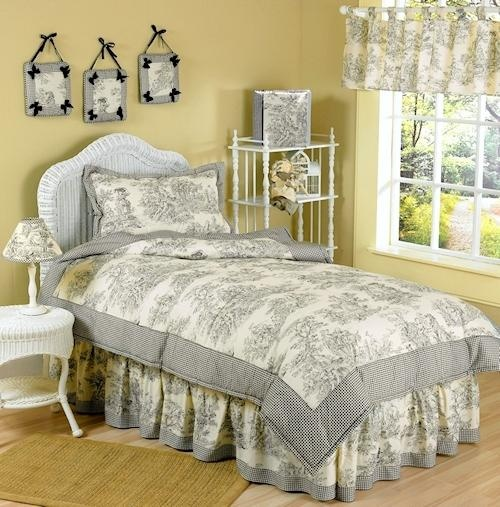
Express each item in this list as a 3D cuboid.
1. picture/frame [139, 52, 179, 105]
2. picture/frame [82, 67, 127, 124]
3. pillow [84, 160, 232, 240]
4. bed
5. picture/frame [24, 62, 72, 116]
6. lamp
[{"bbox_3d":[-0.596,-1.126,3.446,0.345,0.306,0.112,-10,15,-38],"label":"picture/frame"},{"bbox_3d":[-0.892,-0.970,3.196,0.376,0.332,0.083,-8,16,-41],"label":"picture/frame"},{"bbox_3d":[-0.563,-0.305,3.057,0.637,0.367,0.114,-3,-33,-28],"label":"pillow"},{"bbox_3d":[-0.040,-0.049,2.843,2.500,1.468,1.444,10,16,41],"label":"bed"},{"bbox_3d":[-1.137,-0.935,2.974,0.088,0.280,0.311,10,14,43],"label":"picture/frame"},{"bbox_3d":[-0.956,0.053,2.288,0.278,0.413,0.219,4,8,45],"label":"lamp"}]
